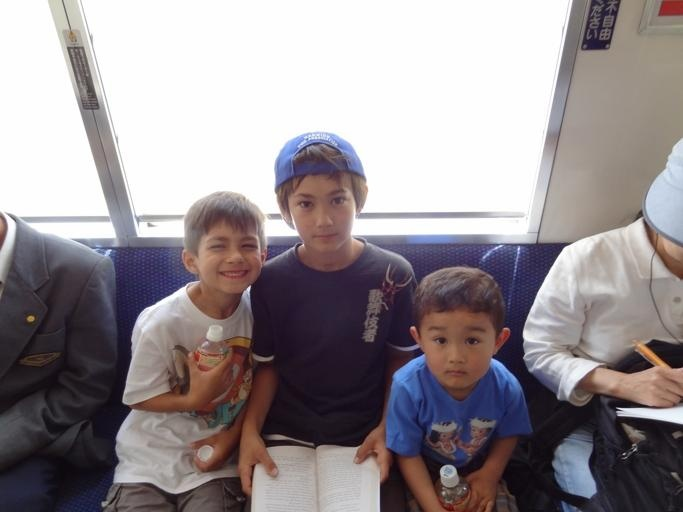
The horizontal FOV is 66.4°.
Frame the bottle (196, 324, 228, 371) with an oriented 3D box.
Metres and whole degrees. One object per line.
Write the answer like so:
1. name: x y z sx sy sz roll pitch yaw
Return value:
1. bottle: -0.412 0.302 1.649 0.087 0.166 0.088 15 17 -5
